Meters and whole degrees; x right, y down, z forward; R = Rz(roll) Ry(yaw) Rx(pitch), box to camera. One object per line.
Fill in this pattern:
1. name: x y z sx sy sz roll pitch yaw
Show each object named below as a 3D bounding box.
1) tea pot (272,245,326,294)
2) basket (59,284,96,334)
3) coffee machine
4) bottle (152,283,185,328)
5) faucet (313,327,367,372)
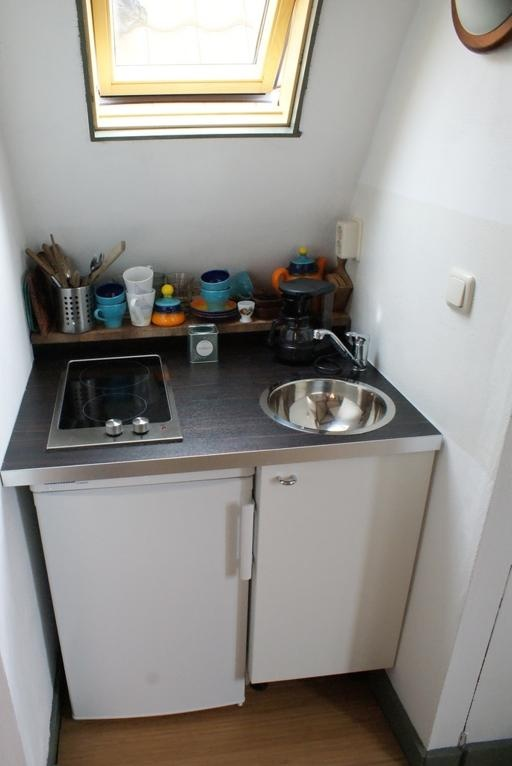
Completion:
1. tea pot: 0.151 -0.391 1.995 0.201 0.151 0.132 -31 45 -22
2. basket: -0.519 -0.235 1.789 0.114 0.145 0.126 -1 32 -3
3. coffee machine: 0.139 -0.181 1.833 0.168 0.301 0.177 -6 26 -33
4. bottle: -0.286 -0.256 1.879 0.111 0.125 0.125 -1 21 -8
5. faucet: 0.255 -0.118 1.751 0.161 0.102 0.162 6 21 10
